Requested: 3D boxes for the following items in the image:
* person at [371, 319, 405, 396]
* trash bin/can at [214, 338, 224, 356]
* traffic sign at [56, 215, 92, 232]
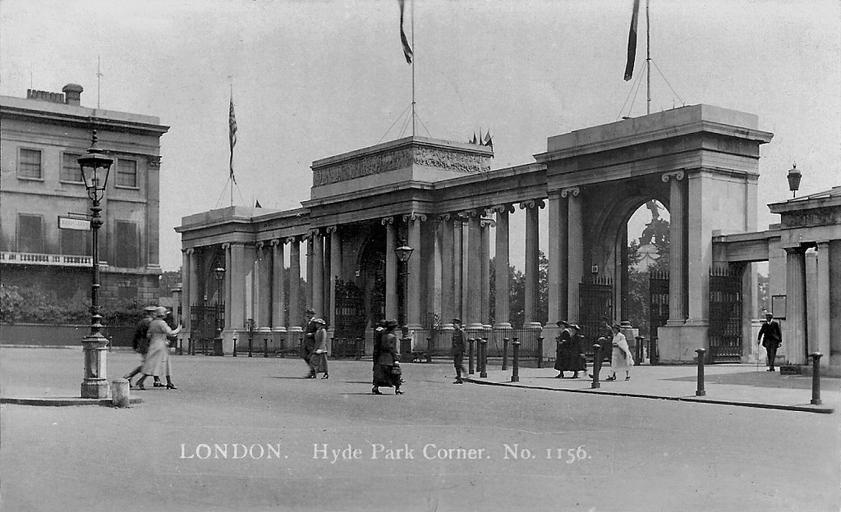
[{"bbox_3d":[-1.113,3.248,55.533,0.941,2.506,1.146,-1,-1,-7],"label":"person"},{"bbox_3d":[-11.450,4.786,91.835,0.394,0.891,0.797,4,-7,-16],"label":"trash bin/can"},{"bbox_3d":[-10.834,-1.111,50.883,0.965,0.473,1.687,3,-7,-12],"label":"traffic sign"}]
